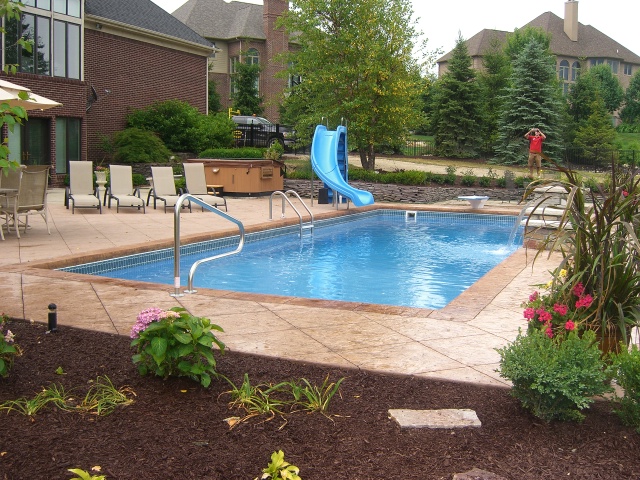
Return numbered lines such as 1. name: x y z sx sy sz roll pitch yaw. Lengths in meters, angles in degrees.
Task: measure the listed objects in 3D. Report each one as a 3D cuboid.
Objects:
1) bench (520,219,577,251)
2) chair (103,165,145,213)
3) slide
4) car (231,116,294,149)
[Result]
1. bench: 2.961 -0.063 6.999 0.614 0.385 0.607 2 7 26
2. chair: -5.778 -1.511 15.021 0.761 1.184 1.667 -4 -6 8
3. slide: 0.618 -2.549 17.657 1.829 2.597 3.834 1 9 -2
4. car: -3.553 -6.395 30.994 2.457 1.856 4.368 2 9 3
